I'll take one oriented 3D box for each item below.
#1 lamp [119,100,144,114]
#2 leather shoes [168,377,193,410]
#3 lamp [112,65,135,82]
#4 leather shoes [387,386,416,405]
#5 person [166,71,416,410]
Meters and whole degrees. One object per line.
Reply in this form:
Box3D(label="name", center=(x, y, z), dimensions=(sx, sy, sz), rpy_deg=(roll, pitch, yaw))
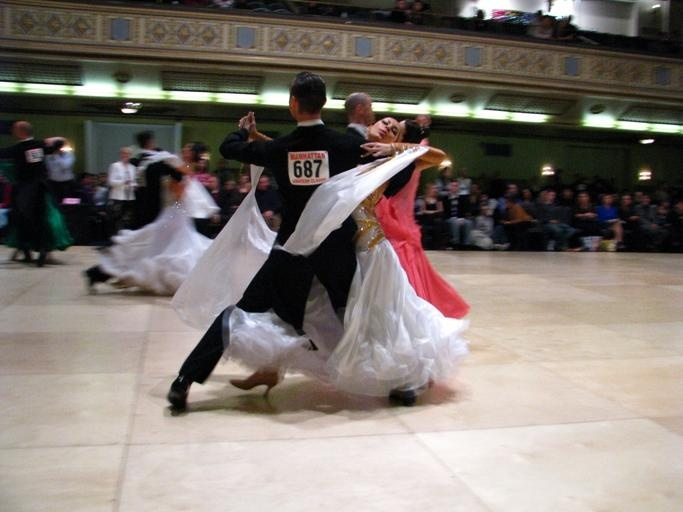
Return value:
Box3D(label="lamp", center=(-4.791, -3.388, 14.176), dimensions=(0.385, 0.091, 0.284), rpy_deg=(-27, 56, -33))
Box3D(label="leather shoes", center=(-0.865, 0.714, 3.276), dimensions=(0.117, 0.201, 0.147), rpy_deg=(-2, 14, -15))
Box3D(label="lamp", center=(-4.832, -3.977, 13.586), dimensions=(0.407, 0.273, 0.531), rpy_deg=(-2, 12, -18))
Box3D(label="leather shoes", center=(0.328, 0.765, 3.382), dimensions=(0.123, 0.069, 0.122), rpy_deg=(-8, -16, 40))
Box3D(label="person", center=(-0.276, -0.092, 3.339), dimensions=(1.185, 1.790, 0.607), rpy_deg=(1, 15, -5))
